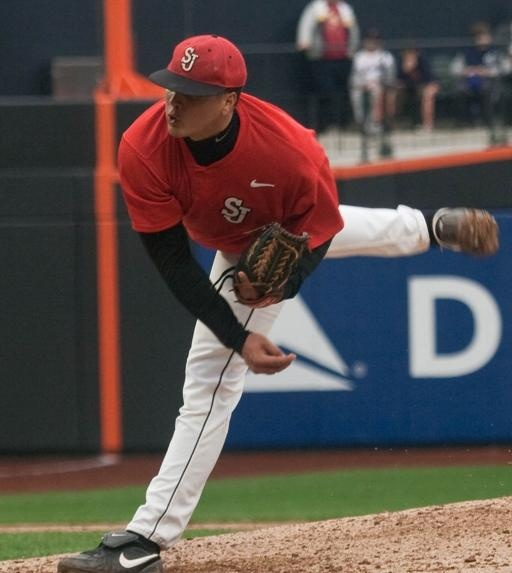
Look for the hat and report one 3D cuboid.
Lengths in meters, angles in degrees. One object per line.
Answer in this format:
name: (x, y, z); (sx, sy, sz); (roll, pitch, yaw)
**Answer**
hat: (-0.154, -0.582, 3.111); (0.215, 0.113, 0.163); (-5, 28, -34)
